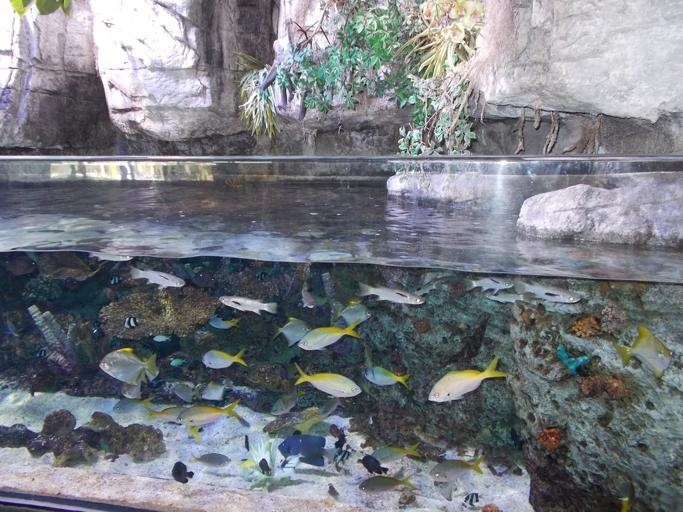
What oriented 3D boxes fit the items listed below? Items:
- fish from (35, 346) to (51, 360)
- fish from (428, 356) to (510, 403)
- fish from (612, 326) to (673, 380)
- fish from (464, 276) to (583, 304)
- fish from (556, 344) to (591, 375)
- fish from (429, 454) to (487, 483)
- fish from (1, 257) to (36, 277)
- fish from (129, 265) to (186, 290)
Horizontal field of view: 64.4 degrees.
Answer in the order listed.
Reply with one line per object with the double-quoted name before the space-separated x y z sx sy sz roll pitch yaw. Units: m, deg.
"fish" -4.018 1.291 7.273 0.174 0.163 0.041 11 -11 1
"fish" 1.128 1.164 4.985 0.677 0.424 0.214 -4 19 -19
"fish" 2.585 0.804 4.611 0.476 0.447 0.105 5 -26 2
"fish" 1.761 0.310 5.153 0.906 0.121 0.301 6 55 42
"fish" 2.063 0.924 4.921 0.232 0.136 0.361 -44 31 -25
"fish" 1.052 1.977 5.146 0.538 0.277 0.271 -1 18 -9
"fish" -3.815 0.110 6.405 0.294 0.056 0.333 10 -21 -29
"fish" -1.962 0.218 5.835 0.565 0.183 0.118 16 14 3
